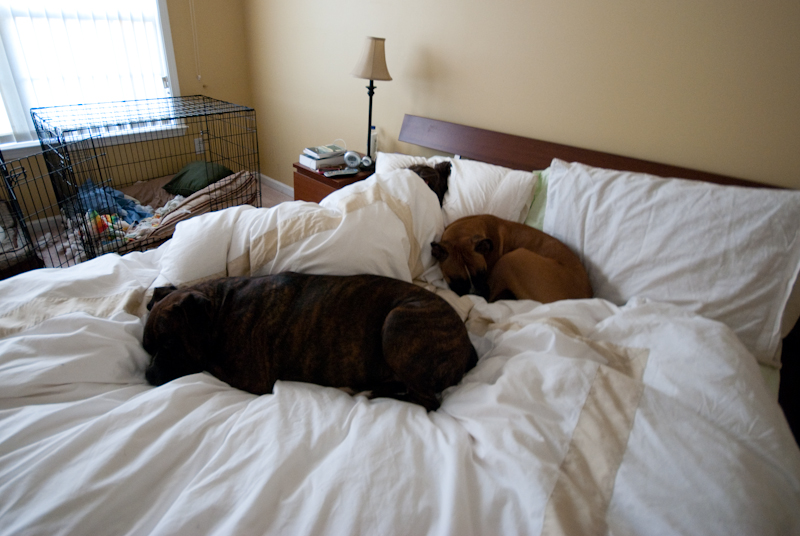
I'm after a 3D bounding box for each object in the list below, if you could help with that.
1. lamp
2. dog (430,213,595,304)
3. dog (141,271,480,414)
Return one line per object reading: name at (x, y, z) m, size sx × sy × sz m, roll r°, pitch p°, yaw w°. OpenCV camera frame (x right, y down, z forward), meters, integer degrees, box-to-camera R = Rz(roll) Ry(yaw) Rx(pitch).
lamp at (-0.208, -1.177, 3.931) m, size 0.359 × 0.917 × 0.370 m, roll -12°, pitch 36°, yaw -27°
dog at (0.600, -0.040, 2.867) m, size 0.616 × 0.287 × 0.484 m, roll 12°, pitch 19°, yaw 30°
dog at (-0.452, 0.291, 2.557) m, size 1.518 × 0.661 × 0.554 m, roll 1°, pitch 17°, yaw 2°
